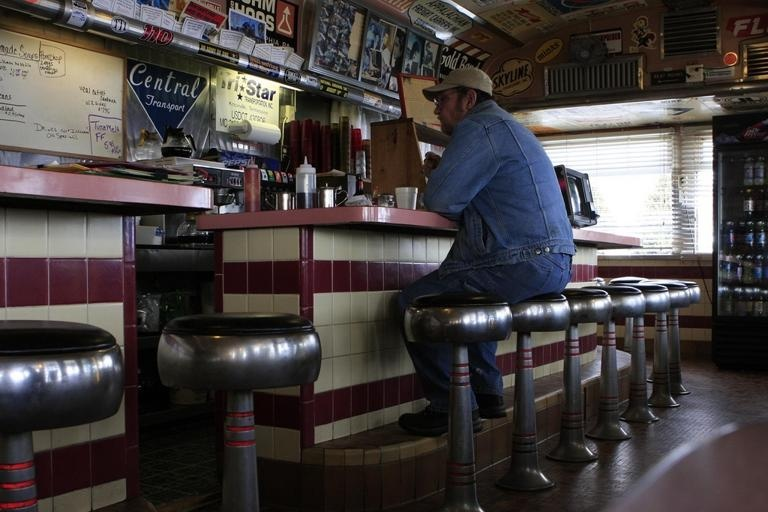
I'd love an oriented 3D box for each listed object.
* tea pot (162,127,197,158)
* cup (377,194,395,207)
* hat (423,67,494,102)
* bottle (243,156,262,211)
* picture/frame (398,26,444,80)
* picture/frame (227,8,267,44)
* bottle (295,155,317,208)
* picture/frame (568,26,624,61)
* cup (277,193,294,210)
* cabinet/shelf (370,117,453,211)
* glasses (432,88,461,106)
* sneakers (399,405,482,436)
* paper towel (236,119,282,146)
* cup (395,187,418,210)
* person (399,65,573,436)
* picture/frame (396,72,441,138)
[{"bbox_3d":[-1.685,-0.923,5.051,0.227,0.243,0.153,-2,2,-15],"label":"tea pot"},{"bbox_3d":[0.007,-0.329,3.633,0.067,0.076,0.283,-1,3,10],"label":"cup"},{"bbox_3d":[0.432,-1.006,3.658,0.414,0.200,0.252,-3,9,-3],"label":"hat"},{"bbox_3d":[-0.726,-0.389,3.439,0.086,0.309,0.076,-3,36,-13],"label":"bottle"},{"bbox_3d":[0.382,-2.247,7.044,0.078,0.487,0.709,20,19,39],"label":"picture/frame"},{"bbox_3d":[-1.233,-2.056,5.537,0.021,0.274,0.473,3,3,34],"label":"picture/frame"},{"bbox_3d":[-0.413,-0.386,3.299,0.111,0.276,0.309,-2,3,-7],"label":"bottle"},{"bbox_3d":[2.478,-2.475,7.294,0.609,0.348,0.059,-1,-9,26],"label":"picture/frame"},{"bbox_3d":[-0.526,-0.293,3.341,0.097,0.099,0.094,0,3,0],"label":"cup"},{"bbox_3d":[0.128,-0.636,4.318,0.502,0.655,0.727,0,2,25],"label":"cabinet/shelf"},{"bbox_3d":[0.366,-0.925,3.606,0.098,0.026,0.092,-15,2,-28],"label":"glasses"},{"bbox_3d":[0.290,0.861,3.313,0.424,0.187,0.174,3,-5,-1],"label":"sneakers"},{"bbox_3d":[-1.177,-1.179,5.988,0.177,0.173,0.417,39,21,35],"label":"paper towel"},{"bbox_3d":[0.128,-0.324,3.513,0.133,0.140,0.130,-1,2,0],"label":"cup"},{"bbox_3d":[0.605,-0.050,3.585,0.962,2.005,0.957,-2,-7,12],"label":"person"},{"bbox_3d":[0.273,-1.067,4.298,0.333,0.388,0.030,16,41,36],"label":"picture/frame"}]
